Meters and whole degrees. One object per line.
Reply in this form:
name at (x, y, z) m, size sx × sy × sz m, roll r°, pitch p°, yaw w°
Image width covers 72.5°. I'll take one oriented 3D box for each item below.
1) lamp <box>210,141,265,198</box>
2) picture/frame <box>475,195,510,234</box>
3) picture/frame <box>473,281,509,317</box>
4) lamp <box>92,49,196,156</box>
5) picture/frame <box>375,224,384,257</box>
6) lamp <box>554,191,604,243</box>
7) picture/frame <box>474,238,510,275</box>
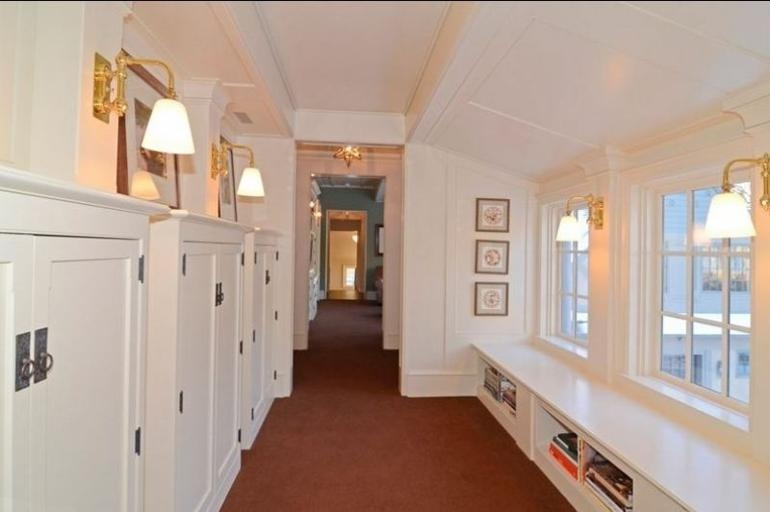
lamp at (-1.103, -0.653, 4.035) m, size 0.404 × 0.435 × 0.275 m, roll 3°, pitch 10°, yaw -23°
picture/frame at (1.064, -0.418, 5.316) m, size 0.385 × 0.378 × 0.027 m, roll 2°, pitch -2°, yaw -5°
picture/frame at (1.053, 0.429, 5.309) m, size 0.363 × 0.359 × 0.026 m, roll 0°, pitch -2°, yaw -5°
lamp at (-1.233, -0.795, 2.728) m, size 0.492 × 0.460 × 0.282 m, roll 7°, pitch 7°, yaw -12°
picture/frame at (-0.153, -0.372, 12.405) m, size 0.158 × 0.768 × 0.335 m, roll -1°, pitch 7°, yaw 5°
lamp at (1.545, -0.307, 4.214) m, size 0.362 × 0.343 × 0.219 m, roll -3°, pitch 13°, yaw 14°
picture/frame at (1.061, 0.008, 5.312) m, size 0.362 × 0.356 × 0.030 m, roll 1°, pitch -2°, yaw -5°
